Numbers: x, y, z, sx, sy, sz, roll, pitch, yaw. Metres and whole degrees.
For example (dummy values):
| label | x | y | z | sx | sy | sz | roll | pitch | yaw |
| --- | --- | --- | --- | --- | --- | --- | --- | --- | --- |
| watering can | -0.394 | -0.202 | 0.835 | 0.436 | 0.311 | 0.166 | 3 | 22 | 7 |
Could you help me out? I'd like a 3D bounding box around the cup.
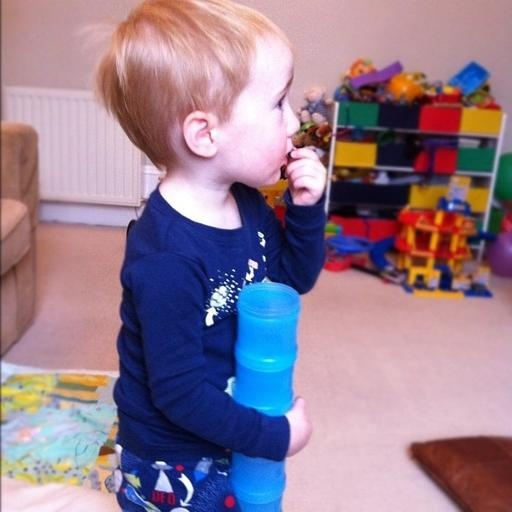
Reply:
| label | x | y | z | sx | sy | sz | roll | pitch | yaw |
| --- | --- | --- | --- | --- | --- | --- | --- | --- | --- |
| cup | 0.008 | 0.148 | 0.455 | 0.061 | 0.245 | 0.067 | 2 | 17 | -1 |
